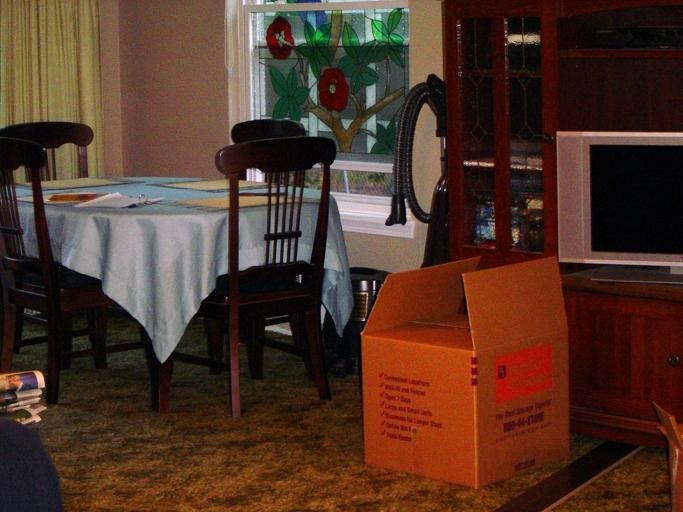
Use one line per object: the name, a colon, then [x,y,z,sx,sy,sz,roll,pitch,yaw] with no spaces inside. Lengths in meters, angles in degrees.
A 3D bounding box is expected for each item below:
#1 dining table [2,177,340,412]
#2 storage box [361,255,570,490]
dining table: [-0.853,-0.018,2.725,0.878,0.416,0.955,-12,21,-43]
storage box: [0.438,0.378,2.233,0.513,0.711,0.532,-1,1,43]
